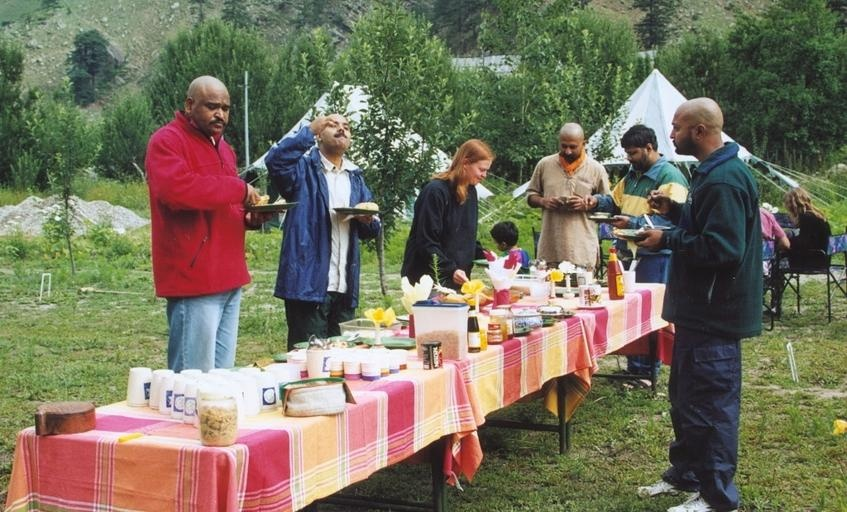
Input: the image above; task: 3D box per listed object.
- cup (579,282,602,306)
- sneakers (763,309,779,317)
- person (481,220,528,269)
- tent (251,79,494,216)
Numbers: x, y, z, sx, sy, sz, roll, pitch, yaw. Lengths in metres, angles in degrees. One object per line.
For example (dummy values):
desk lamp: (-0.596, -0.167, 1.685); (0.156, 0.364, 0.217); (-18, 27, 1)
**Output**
cup: (3.452, 0.818, 21.232); (0.432, 0.464, 0.429); (0, -3, 0)
sneakers: (8.784, 1.427, 25.873); (0.294, 0.117, 0.287); (-13, 18, -42)
person: (2.001, -0.241, 24.883); (0.800, 1.393, 1.389); (4, 12, 38)
tent: (-1.422, -3.544, 27.556); (5.300, 2.425, 5.362); (14, 9, 31)
